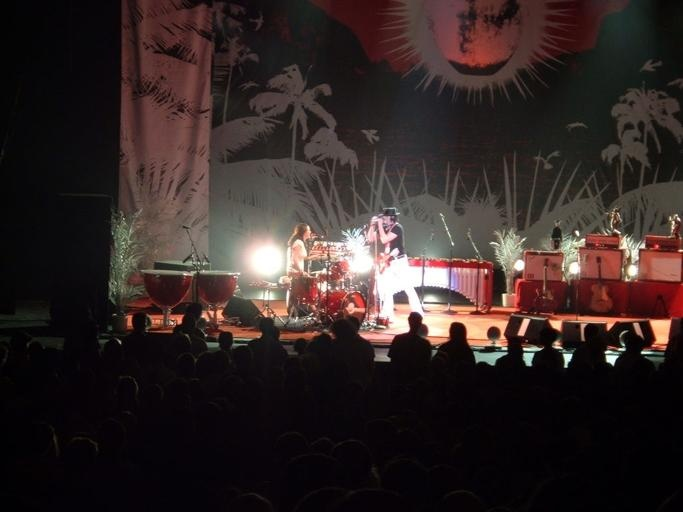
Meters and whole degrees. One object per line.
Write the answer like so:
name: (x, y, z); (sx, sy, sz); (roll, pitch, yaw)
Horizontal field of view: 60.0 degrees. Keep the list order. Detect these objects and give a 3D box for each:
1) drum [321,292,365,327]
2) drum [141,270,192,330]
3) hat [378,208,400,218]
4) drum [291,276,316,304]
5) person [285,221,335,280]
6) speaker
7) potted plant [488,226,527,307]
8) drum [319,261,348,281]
drum: (-0.029, 0.638, 7.711); (0.406, 0.585, 0.550); (0, 2, 45)
drum: (-2.416, 0.590, 8.050); (0.739, 0.804, 0.690); (3, -4, -27)
hat: (0.671, -0.618, 8.369); (0.275, 0.155, 0.380); (0, 3, 5)
drum: (-0.497, 0.443, 7.732); (0.325, 0.341, 0.318); (2, -3, -44)
person: (-0.519, -0.067, 8.361); (0.472, 0.790, 1.372); (2, -5, -7)
speaker: (2.778, 0.849, 6.804); (1.452, 0.419, 0.867); (-1, -3, 4)
potted plant: (3.110, 0.059, 11.109); (0.654, 1.259, 0.417); (1, -5, 12)
drum: (-0.109, 0.179, 7.793); (0.342, 0.271, 0.232); (5, -6, -31)
